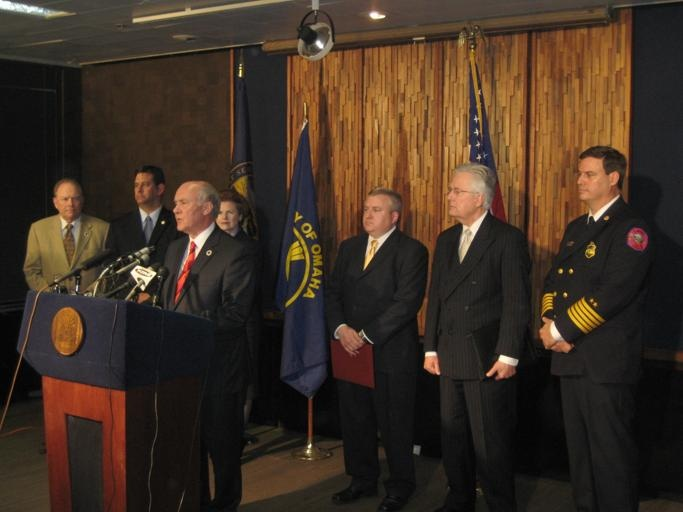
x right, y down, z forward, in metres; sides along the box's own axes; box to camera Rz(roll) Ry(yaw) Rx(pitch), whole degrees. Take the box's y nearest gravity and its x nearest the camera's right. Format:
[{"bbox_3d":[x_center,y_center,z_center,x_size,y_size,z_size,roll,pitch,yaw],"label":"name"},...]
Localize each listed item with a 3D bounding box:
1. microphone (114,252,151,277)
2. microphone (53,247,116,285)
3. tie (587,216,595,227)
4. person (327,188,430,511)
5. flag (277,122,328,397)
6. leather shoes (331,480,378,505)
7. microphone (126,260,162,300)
[{"bbox_3d":[-1.051,0.038,3.578,0.235,0.069,0.057,-27,21,-22],"label":"microphone"},{"bbox_3d":[-1.754,0.049,4.735,0.470,0.090,0.087,-29,2,-21],"label":"microphone"},{"bbox_3d":[1.533,-0.213,4.306,0.033,0.050,0.011,-15,-23,42],"label":"tie"},{"bbox_3d":[0.204,0.594,4.684,0.668,2.056,0.582,2,8,17],"label":"person"},{"bbox_3d":[-0.300,0.025,5.261,0.368,2.025,0.551,-1,8,-5],"label":"flag"},{"bbox_3d":[0.092,1.568,4.715,0.325,0.245,0.115,5,-8,-25],"label":"leather shoes"},{"bbox_3d":[-1.026,0.165,3.591,0.123,0.269,0.082,12,16,-10],"label":"microphone"}]
